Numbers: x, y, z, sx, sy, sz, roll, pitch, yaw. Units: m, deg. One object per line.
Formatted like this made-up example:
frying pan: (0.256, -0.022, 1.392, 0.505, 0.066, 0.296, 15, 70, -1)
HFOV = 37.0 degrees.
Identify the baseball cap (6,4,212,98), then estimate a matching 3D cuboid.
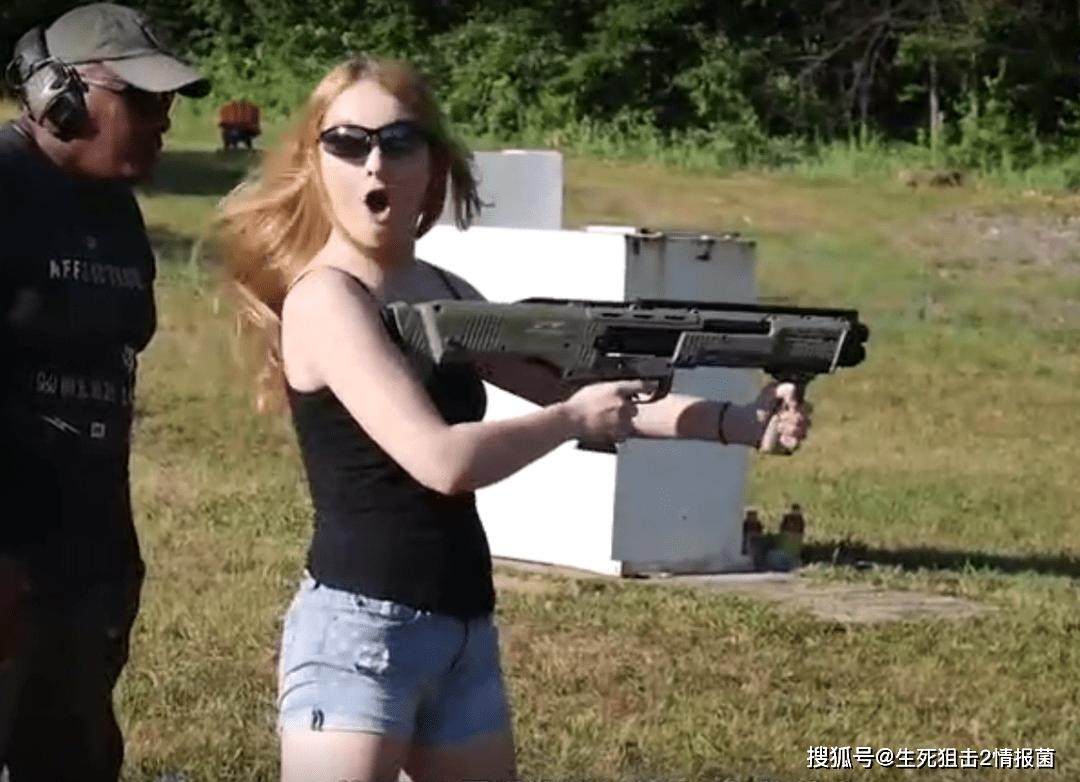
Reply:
baseball cap: (-1.779, -1.478, 6.859, 0.536, 0.331, 0.391, 9, 7, 2)

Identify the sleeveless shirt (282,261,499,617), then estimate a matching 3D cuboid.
sleeveless shirt: (-0.750, 0.151, 6.955, 0.918, 2.055, 1.307, -2, -2, -9)
